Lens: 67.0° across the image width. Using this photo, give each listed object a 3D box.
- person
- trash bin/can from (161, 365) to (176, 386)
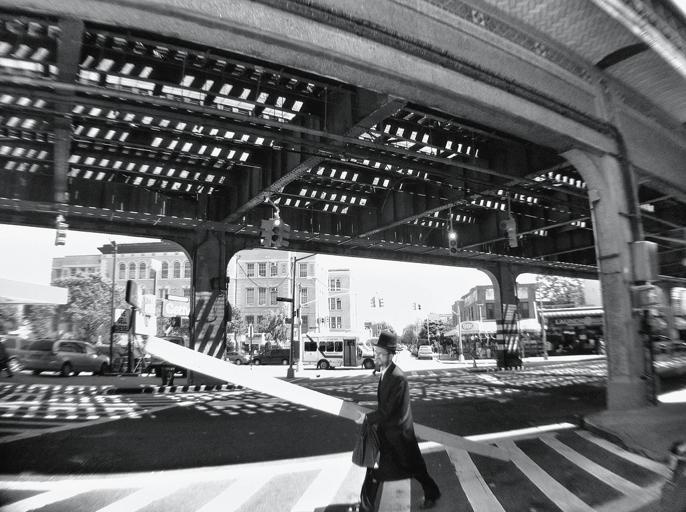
[{"bbox_3d":[0.818,2.516,8.010,1.221,2.667,0.495,6,-10,-29],"label":"person"},{"bbox_3d":[-7.921,5.297,23.164,0.526,0.880,1.932,4,-9,-19],"label":"trash bin/can"}]
